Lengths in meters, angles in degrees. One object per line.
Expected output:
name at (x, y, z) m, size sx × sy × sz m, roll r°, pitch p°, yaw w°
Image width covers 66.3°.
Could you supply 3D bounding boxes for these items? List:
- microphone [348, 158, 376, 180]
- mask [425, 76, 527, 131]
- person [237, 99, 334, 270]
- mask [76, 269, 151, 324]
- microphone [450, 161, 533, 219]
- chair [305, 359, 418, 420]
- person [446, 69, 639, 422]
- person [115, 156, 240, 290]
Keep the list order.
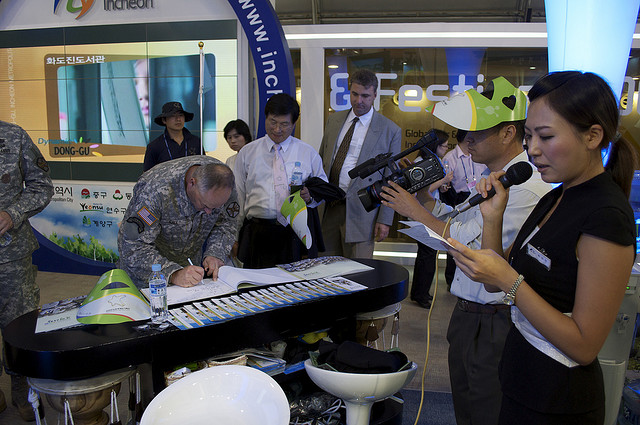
microphone at (0.263, -0.283, 3.151) m, size 0.128 × 0.040 × 0.130 m, roll -32°, pitch -2°, yaw -24°
mask at (0.825, -0.551, 2.517) m, size 0.397 × 0.185 × 0.275 m, roll -10°, pitch 22°, yaw 2°
person at (-0.371, -0.160, 4.311) m, size 0.875 × 1.603 × 0.544 m, roll 3°, pitch 24°, yaw -6°
mask at (-1.158, 0.482, 2.773) m, size 0.411 × 0.200 × 0.596 m, roll 0°, pitch 14°, yaw -18°
microphone at (0.785, -0.095, 2.280) m, size 0.351 × 0.273 × 0.153 m, roll 2°, pitch 12°, yaw 20°
chair at (0.207, 0.858, 2.469) m, size 0.345 × 0.207 × 0.359 m, roll 3°, pitch -6°, yaw -8°
person at (0.968, 0.165, 2.075) m, size 0.604 × 1.477 × 0.428 m, roll 4°, pitch 12°, yaw 30°
person at (-0.879, 0.049, 3.160) m, size 0.834 × 0.761 × 0.651 m, roll -7°, pitch 12°, yaw -24°
